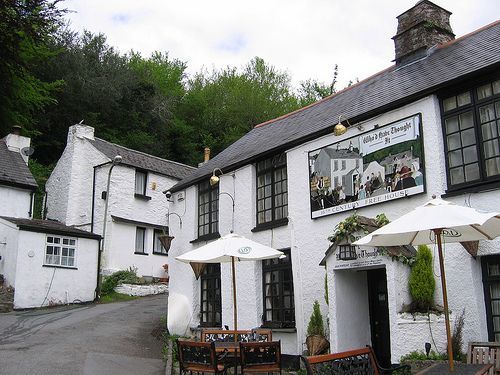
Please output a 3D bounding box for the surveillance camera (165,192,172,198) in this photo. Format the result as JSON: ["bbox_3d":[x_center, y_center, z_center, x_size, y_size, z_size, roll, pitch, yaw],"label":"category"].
[{"bbox_3d":[-3.478,0.336,18.765,0.256,0.279,0.253,-15,-48,10],"label":"surveillance camera"}]

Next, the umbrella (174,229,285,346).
[{"bbox_3d":[-0.440,2.486,11.286,2.660,2.842,2.581,-1,-3,-24],"label":"umbrella"}]

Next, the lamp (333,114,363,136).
[{"bbox_3d":[2.629,-1.673,12.209,1.034,0.687,0.482,-3,-5,-24],"label":"lamp"}]
